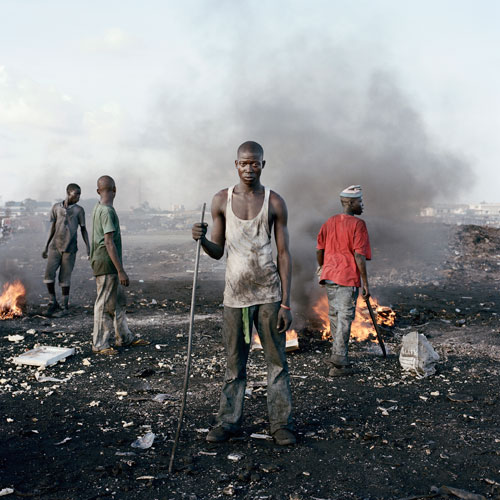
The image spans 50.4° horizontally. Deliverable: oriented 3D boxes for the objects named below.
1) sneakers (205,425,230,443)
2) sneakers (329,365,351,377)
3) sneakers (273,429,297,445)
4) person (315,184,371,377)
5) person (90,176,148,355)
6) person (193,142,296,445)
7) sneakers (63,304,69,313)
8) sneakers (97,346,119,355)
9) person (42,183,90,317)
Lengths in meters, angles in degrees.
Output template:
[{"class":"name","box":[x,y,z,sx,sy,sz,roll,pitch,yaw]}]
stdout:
[{"class":"sneakers","box":[-0.246,1.339,3.912,0.076,0.088,0.198,9,10,43]},{"class":"sneakers","box":[0.903,1.212,5.388,0.227,0.107,0.092,-3,2,-15]},{"class":"sneakers","box":[0.253,1.349,3.858,0.133,0.097,0.114,-1,6,-13]},{"class":"person","box":[0.982,0.439,5.573,0.515,1.628,0.659,0,6,-3]},{"class":"person","box":[-1.545,0.167,6.018,0.576,2.001,0.849,-1,6,-12]},{"class":"person","box":[-0.013,0.300,3.907,0.695,2.175,0.375,0,6,4]},{"class":"sneakers","box":[-2.776,0.866,7.967,0.081,0.084,0.153,8,24,-13]},{"class":"sneakers","box":[-1.620,1.136,6.052,0.232,0.099,0.095,2,6,11]},{"class":"person","box":[-2.714,-0.004,7.800,0.603,1.907,0.504,-2,6,-21]}]
